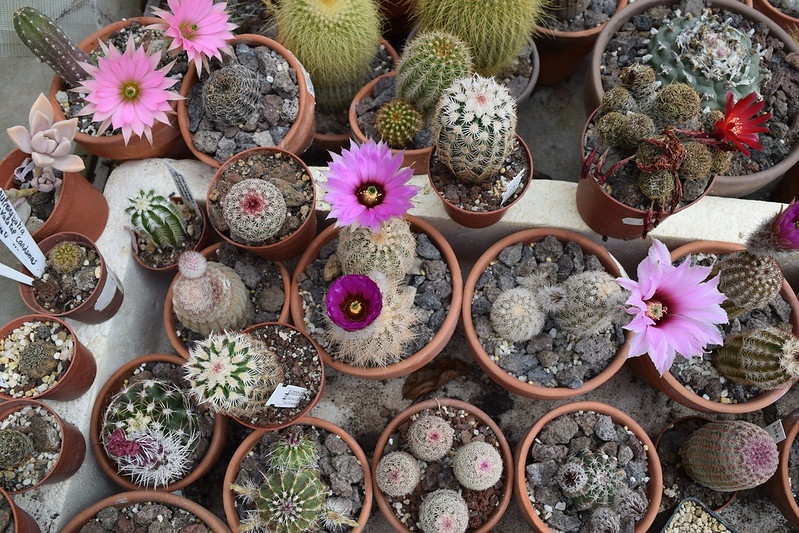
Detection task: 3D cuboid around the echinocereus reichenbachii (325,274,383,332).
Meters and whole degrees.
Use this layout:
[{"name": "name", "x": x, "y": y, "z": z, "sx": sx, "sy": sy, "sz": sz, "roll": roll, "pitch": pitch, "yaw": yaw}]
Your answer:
[{"name": "echinocereus reichenbachii", "x": -0.174, "y": 0.139, "z": 2.720, "sx": 0.210, "sy": 0.087, "sz": 0.216, "roll": -15, "pitch": 67, "yaw": -4}]

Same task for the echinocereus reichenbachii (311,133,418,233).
[{"name": "echinocereus reichenbachii", "x": -0.121, "y": -0.334, "z": 2.688, "sx": 0.359, "sy": 0.400, "sz": 0.165, "roll": 2, "pitch": 82, "yaw": -23}]

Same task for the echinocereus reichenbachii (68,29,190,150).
[{"name": "echinocereus reichenbachii", "x": -1.160, "y": -0.736, "z": 3.037, "sx": 0.426, "sy": 0.409, "sz": 0.416, "roll": -30, "pitch": 68, "yaw": -10}]

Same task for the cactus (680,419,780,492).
[{"name": "cactus", "x": 1.350, "y": 0.794, "z": 2.961, "sx": 0.303, "sy": 0.413, "sz": 0.331, "roll": -5, "pitch": 73, "yaw": 5}]

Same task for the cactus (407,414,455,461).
[{"name": "cactus", "x": 0.127, "y": 0.703, "z": 2.879, "sx": 0.174, "sy": 0.192, "sz": 0.162, "roll": 0, "pitch": 66, "yaw": 3}]

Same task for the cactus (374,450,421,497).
[{"name": "cactus", "x": -0.009, "y": 0.837, "z": 2.845, "sx": 0.169, "sy": 0.128, "sz": 0.172, "roll": 31, "pitch": 71, "yaw": 15}]

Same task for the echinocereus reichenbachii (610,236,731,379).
[{"name": "echinocereus reichenbachii", "x": 0.983, "y": 0.142, "z": 2.591, "sx": 0.400, "sy": 0.260, "sz": 0.418, "roll": -22, "pitch": 67, "yaw": -7}]

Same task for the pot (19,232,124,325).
[{"name": "pot", "x": -1.402, "y": 0.092, "z": 3.023, "sx": 0.373, "sy": 0.325, "sz": 0.362, "roll": 1, "pitch": 50, "yaw": -2}]

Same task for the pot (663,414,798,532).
[{"name": "pot", "x": 1.309, "y": 0.787, "z": 3.056, "sx": 0.458, "sy": 0.652, "sz": 0.513, "roll": -9, "pitch": 84, "yaw": 4}]

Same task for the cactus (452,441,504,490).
[{"name": "cactus", "x": 0.315, "y": 0.804, "z": 2.837, "sx": 0.192, "sy": 0.181, "sz": 0.178, "roll": 27, "pitch": 70, "yaw": 14}]
